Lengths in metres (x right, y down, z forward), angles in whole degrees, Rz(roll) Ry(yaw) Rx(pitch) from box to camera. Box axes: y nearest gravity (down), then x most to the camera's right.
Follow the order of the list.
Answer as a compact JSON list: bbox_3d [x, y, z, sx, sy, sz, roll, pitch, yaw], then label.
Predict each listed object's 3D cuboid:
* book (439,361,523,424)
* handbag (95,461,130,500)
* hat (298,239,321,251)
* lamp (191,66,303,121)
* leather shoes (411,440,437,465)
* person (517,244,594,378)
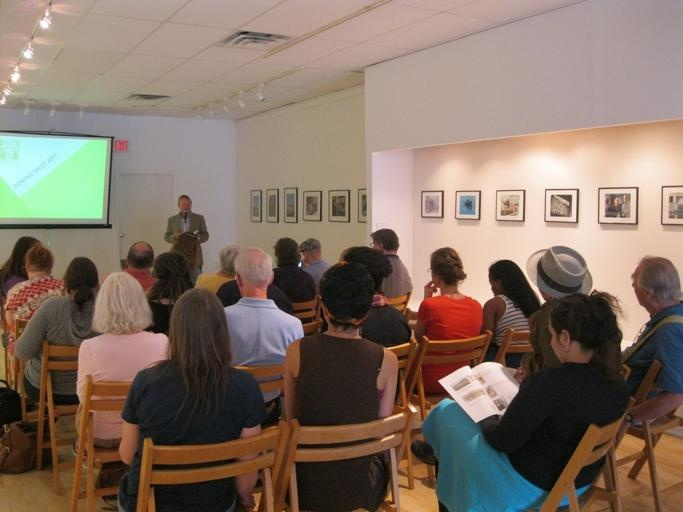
[{"bbox_3d":[0.774,0.743,2.901,0.341,0.064,0.277,-14,34,-26],"label":"book"},{"bbox_3d":[-1.484,1.402,3.333,0.225,0.185,0.135,1,1,8],"label":"handbag"},{"bbox_3d":[-0.395,-0.135,6.600,0.213,0.129,0.158,5,5,26],"label":"hat"},{"bbox_3d":[-1.851,-2.830,9.444,0.634,0.352,4.532,0,2,-34],"label":"lamp"},{"bbox_3d":[0.567,1.343,3.584,0.140,0.070,0.194,5,6,-6],"label":"leather shoes"},{"bbox_3d":[1.584,0.562,3.924,0.394,1.251,0.437,-3,20,1],"label":"person"}]
